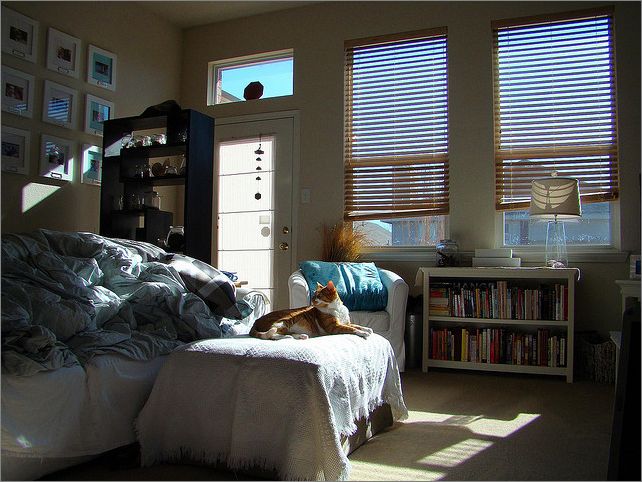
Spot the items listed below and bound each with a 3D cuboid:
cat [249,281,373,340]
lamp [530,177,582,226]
[{"bbox_3d":[-0.055,0.358,2.735,0.587,0.298,0.321,-2,-5,-9],"label":"cat"},{"bbox_3d":[1.933,-0.297,4.081,0.356,0.406,0.385,2,-8,-10],"label":"lamp"}]
